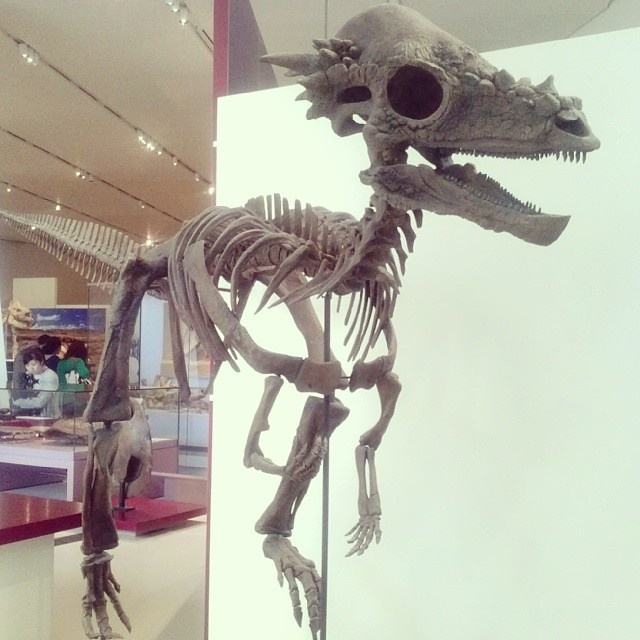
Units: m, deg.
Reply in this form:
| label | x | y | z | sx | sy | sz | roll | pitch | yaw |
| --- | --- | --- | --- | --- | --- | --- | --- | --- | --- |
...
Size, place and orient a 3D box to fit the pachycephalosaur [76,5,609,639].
| label | x | y | z | sx | sy | sz | roll | pitch | yaw |
| --- | --- | --- | --- | --- | --- | --- | --- | --- | --- |
| pachycephalosaur | 0.060 | -0.149 | 3.840 | 1.158 | 2.643 | 3.241 | 2 | 1 | -38 |

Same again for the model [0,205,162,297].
| label | x | y | z | sx | sy | sz | roll | pitch | yaw |
| --- | --- | --- | --- | --- | --- | --- | --- | --- | --- |
| model | -1.476 | -0.435 | 4.819 | 0.987 | 0.333 | 0.301 | 29 | 6 | 31 |

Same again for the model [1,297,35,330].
| label | x | y | z | sx | sy | sz | roll | pitch | yaw |
| --- | --- | --- | --- | --- | --- | --- | --- | --- | --- |
| model | -2.216 | -0.040 | 5.836 | 0.239 | 0.148 | 0.183 | 3 | 2 | 35 |
